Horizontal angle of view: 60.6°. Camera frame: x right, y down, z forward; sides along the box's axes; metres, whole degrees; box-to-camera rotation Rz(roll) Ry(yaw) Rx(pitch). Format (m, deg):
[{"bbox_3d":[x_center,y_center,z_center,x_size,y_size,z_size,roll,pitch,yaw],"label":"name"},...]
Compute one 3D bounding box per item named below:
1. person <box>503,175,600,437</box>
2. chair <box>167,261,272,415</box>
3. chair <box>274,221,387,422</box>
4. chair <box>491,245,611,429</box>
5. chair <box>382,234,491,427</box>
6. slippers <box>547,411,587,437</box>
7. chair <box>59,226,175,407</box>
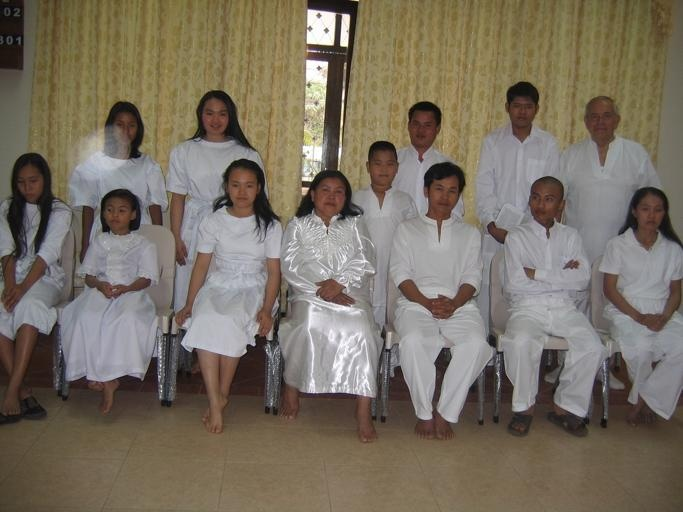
[{"bbox_3d":[1.209,0.377,3.365,0.560,1.120,0.662,4,11,9],"label":"person"},{"bbox_3d":[-0.627,0.337,3.224,0.382,0.387,0.990,8,49,-5],"label":"chair"},{"bbox_3d":[-0.073,0.264,3.334,0.565,0.993,0.754,-1,11,-26],"label":"chair"},{"bbox_3d":[1.155,0.465,3.452,0.544,0.965,0.623,-5,-5,21],"label":"chair"},{"bbox_3d":[0.558,0.346,3.389,0.512,1.185,0.721,2,2,3],"label":"chair"},{"bbox_3d":[1.274,0.934,3.336,0.083,0.175,0.255,-3,5,-19],"label":"slippers"},{"bbox_3d":[-1.323,0.255,3.383,0.511,0.853,0.568,1,6,-3],"label":"chair"}]
